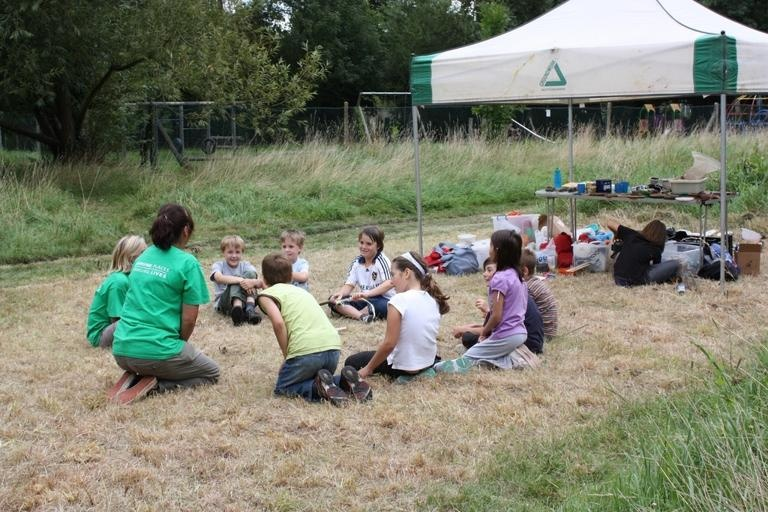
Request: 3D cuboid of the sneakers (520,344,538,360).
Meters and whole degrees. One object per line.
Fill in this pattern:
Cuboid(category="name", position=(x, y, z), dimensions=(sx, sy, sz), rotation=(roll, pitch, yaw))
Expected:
Cuboid(category="sneakers", position=(1.719, 1.134, 10.382), dimensions=(0.178, 0.061, 0.176), rotation=(37, 30, 8))

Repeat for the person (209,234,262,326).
Cuboid(category="person", position=(-1.970, 0.298, 11.843), dimensions=(0.548, 1.128, 1.064), rotation=(0, 3, -30))

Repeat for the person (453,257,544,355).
Cuboid(category="person", position=(1.391, 0.606, 10.945), dimensions=(1.026, 1.308, 0.859), rotation=(-8, -10, 35))

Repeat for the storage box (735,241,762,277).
Cuboid(category="storage box", position=(5.377, 0.061, 12.898), dimensions=(0.385, 0.652, 0.409), rotation=(1, 1, 8))

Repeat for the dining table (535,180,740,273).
Cuboid(category="dining table", position=(3.773, -0.411, 13.771), dimensions=(2.538, 1.412, 1.006), rotation=(2, 18, 18))

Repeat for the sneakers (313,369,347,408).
Cuboid(category="sneakers", position=(-0.627, 1.450, 9.839), dimensions=(0.209, 0.220, 0.507), rotation=(-24, 59, -38))

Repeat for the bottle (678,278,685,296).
Cuboid(category="bottle", position=(4.229, 0.435, 12.304), dimensions=(0.120, 0.213, 0.198), rotation=(2, -9, 7))

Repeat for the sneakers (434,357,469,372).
Cuboid(category="sneakers", position=(0.792, 1.264, 10.339), dimensions=(0.422, 0.183, 0.179), rotation=(-1, 7, -1))

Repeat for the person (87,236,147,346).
Cuboid(category="person", position=(-3.193, 0.473, 11.074), dimensions=(0.955, 1.402, 1.005), rotation=(8, -10, -23))

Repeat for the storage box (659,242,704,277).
Cuboid(category="storage box", position=(4.415, 0.001, 12.873), dimensions=(0.445, 0.196, 0.488), rotation=(11, 44, 24))

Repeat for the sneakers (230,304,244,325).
Cuboid(category="sneakers", position=(-1.944, 0.766, 11.635), dimensions=(0.188, 0.277, 0.173), rotation=(-1, 9, -11))

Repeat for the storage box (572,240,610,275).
Cuboid(category="storage box", position=(3.188, 0.023, 13.368), dimensions=(0.481, 0.536, 0.389), rotation=(-1, 3, 10))

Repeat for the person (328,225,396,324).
Cuboid(category="person", position=(-0.219, 0.241, 11.639), dimensions=(0.827, 1.262, 0.928), rotation=(1, 4, -31))

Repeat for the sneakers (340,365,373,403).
Cuboid(category="sneakers", position=(-0.331, 1.444, 9.883), dimensions=(0.210, 0.196, 0.479), rotation=(-25, 56, -28))

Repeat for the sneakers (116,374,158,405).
Cuboid(category="sneakers", position=(-2.783, 1.478, 9.876), dimensions=(0.424, 0.097, 0.246), rotation=(-24, 56, -8))

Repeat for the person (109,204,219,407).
Cuboid(category="person", position=(-2.673, 0.518, 10.177), dimensions=(1.175, 2.240, 1.098), rotation=(7, 5, 30))

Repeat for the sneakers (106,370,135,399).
Cuboid(category="sneakers", position=(-2.968, 1.451, 9.967), dimensions=(0.142, 0.170, 0.445), rotation=(2, 32, 33))

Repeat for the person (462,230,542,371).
Cuboid(category="person", position=(1.445, 0.503, 10.527), dimensions=(0.894, 1.677, 0.871), rotation=(2, 3, 31))
